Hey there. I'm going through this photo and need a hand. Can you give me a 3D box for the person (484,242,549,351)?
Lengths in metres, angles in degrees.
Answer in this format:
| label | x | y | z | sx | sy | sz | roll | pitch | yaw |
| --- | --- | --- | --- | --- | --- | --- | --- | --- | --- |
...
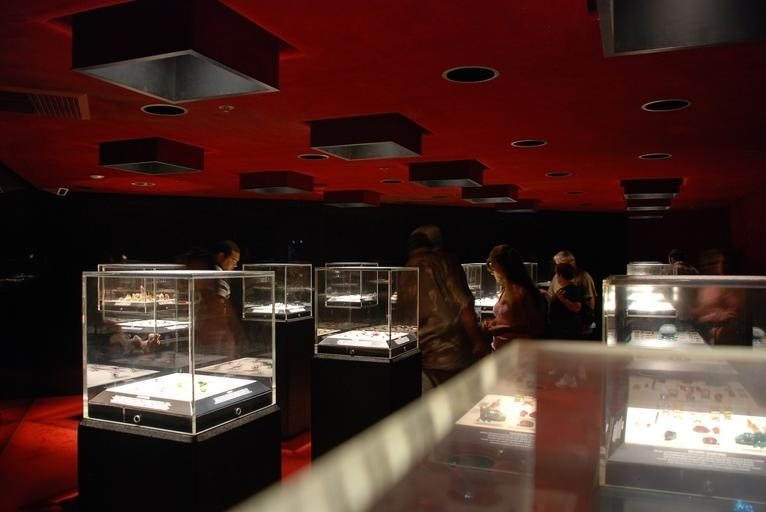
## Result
| label | x | y | z | sx | sy | sz | roll | pitch | yaw |
| --- | --- | --- | --- | --- | --- | --- | --- | --- | --- |
| person | 1.337 | 0.441 | 5.231 | 0.607 | 1.095 | 0.366 | 6 | 8 | 13 |
